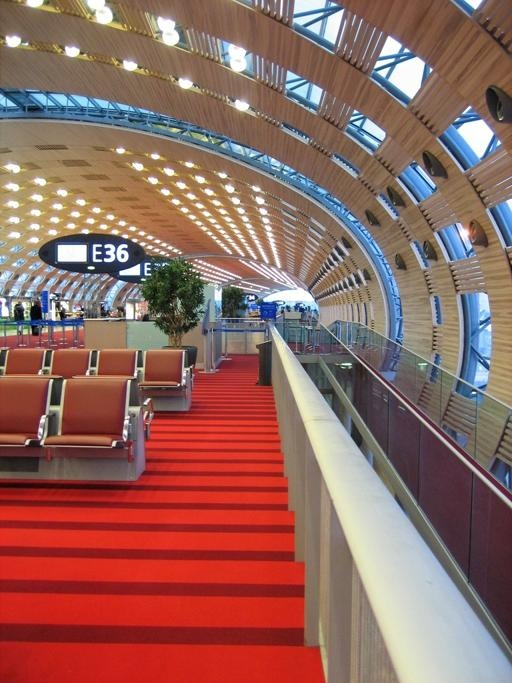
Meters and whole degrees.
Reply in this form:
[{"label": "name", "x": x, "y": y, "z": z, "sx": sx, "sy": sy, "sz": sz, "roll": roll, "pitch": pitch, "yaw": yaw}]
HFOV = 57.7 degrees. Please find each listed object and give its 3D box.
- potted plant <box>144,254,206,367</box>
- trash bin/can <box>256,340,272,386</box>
[{"label": "potted plant", "x": -2.405, "y": -1.354, "z": 15.944, "sx": 2.447, "sy": 3.761, "sz": 2.557, "roll": 5, "pitch": 19, "yaw": 14}, {"label": "trash bin/can", "x": 0.222, "y": 0.700, "z": 13.323, "sx": 0.381, "sy": 1.316, "sz": 0.547, "roll": -1, "pitch": -22, "yaw": 7}]
